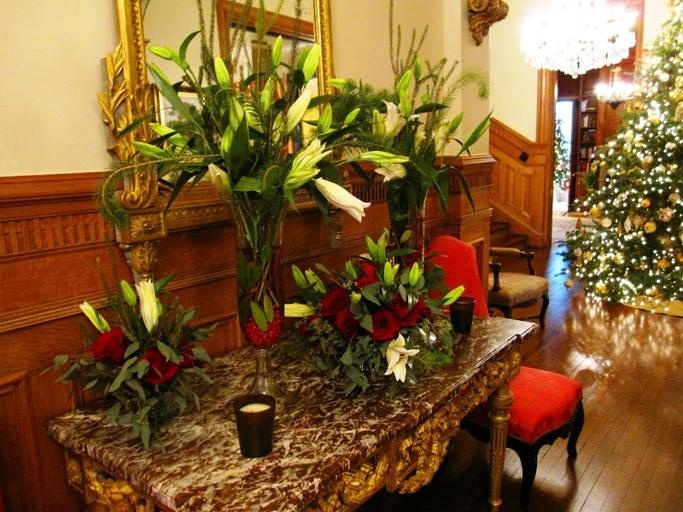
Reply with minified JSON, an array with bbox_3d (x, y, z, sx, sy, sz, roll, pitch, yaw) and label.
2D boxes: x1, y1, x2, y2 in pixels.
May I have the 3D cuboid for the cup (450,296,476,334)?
[{"bbox_3d":[0.496,0.245,2.048,0.121,0.150,0.130,0,13,0],"label":"cup"}]

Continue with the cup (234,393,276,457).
[{"bbox_3d":[-0.227,0.458,1.258,0.090,0.111,0.095,-3,-12,-1],"label":"cup"}]
